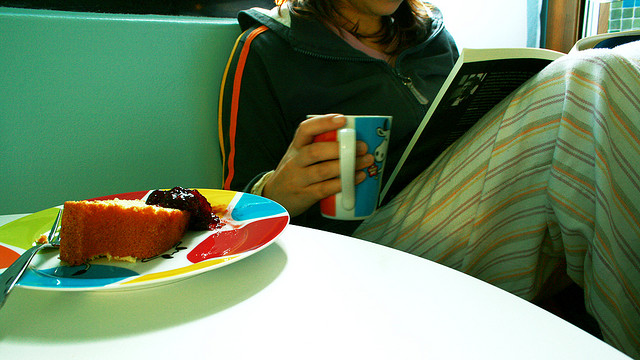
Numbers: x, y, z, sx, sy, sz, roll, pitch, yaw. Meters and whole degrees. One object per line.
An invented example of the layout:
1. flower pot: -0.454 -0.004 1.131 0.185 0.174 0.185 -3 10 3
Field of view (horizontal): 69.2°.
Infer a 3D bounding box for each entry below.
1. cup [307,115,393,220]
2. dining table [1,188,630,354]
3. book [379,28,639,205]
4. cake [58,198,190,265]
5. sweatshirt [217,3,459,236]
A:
1. cup: 0.058 -0.032 1.229 0.238 0.250 0.278 0 9 12
2. dining table: -0.142 0.160 0.975 1.209 0.198 0.382 1 21 1
3. book: 0.380 -0.203 1.169 0.466 0.583 0.172 1 61 -15
4. cake: -0.409 0.094 0.984 0.165 0.063 0.168 1 -2 41
5. sweatshirt: 0.024 -0.180 1.427 0.769 0.536 0.406 -18 18 -26
